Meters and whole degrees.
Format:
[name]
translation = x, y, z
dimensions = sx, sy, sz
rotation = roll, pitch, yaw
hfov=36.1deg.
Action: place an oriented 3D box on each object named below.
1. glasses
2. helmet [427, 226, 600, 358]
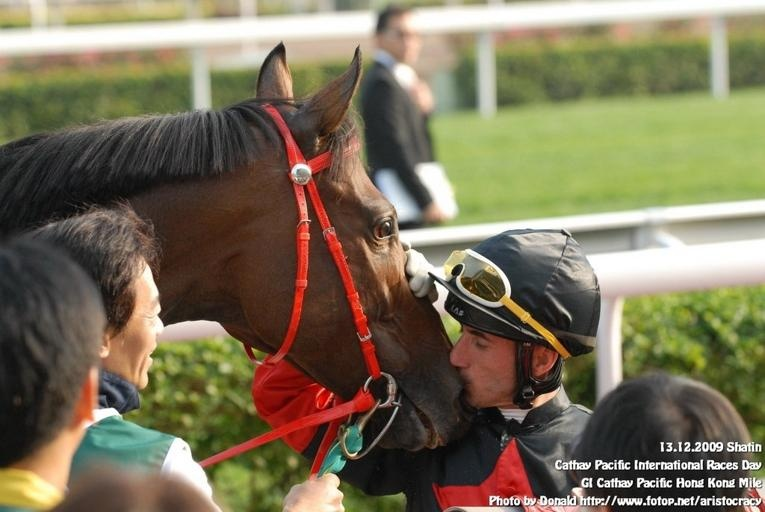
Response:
[glasses]
translation = 0.304, 0.073, 3.645
dimensions = 0.194, 0.184, 0.064
rotation = 30, 76, 41
[helmet]
translation = 0.425, 0.103, 3.706
dimensions = 0.473, 0.257, 0.376
rotation = 13, 13, -18
